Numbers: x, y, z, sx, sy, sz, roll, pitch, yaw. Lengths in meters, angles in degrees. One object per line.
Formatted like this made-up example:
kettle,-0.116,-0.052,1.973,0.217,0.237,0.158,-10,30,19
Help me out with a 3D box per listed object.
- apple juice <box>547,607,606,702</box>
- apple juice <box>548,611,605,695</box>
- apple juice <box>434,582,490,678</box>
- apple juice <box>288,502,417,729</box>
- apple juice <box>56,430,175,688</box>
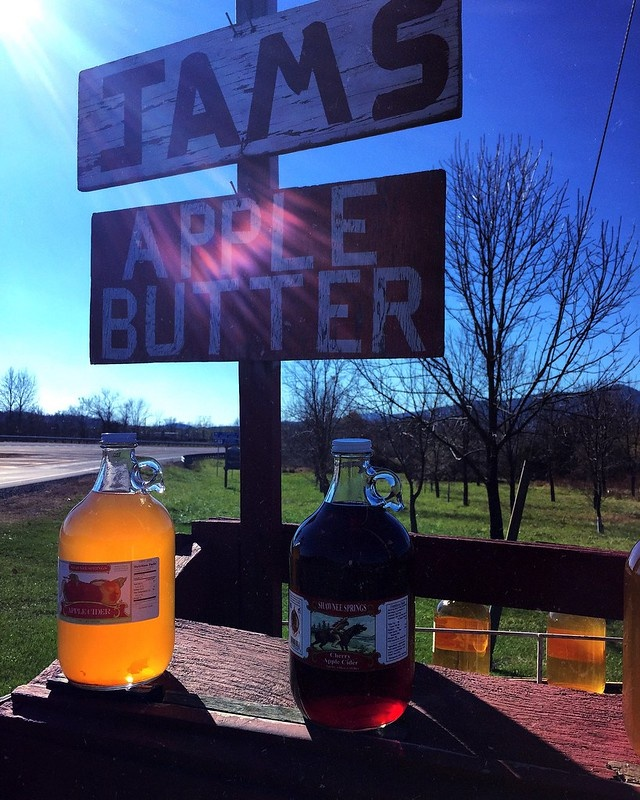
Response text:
apple juice,0.902,0.807,2.647,0.159,0.332,0.165,6,23,25
apple juice,0.883,0.912,2.680,0.167,0.198,0.320,4,38,17
apple juice,0.496,0.722,2.750,0.126,0.469,0.138,4,7,41
apple juice,0.038,0.238,1.294,0.162,0.599,0.186,2,18,6
apple juice,-0.372,0.287,1.470,0.161,0.476,0.184,3,9,13
